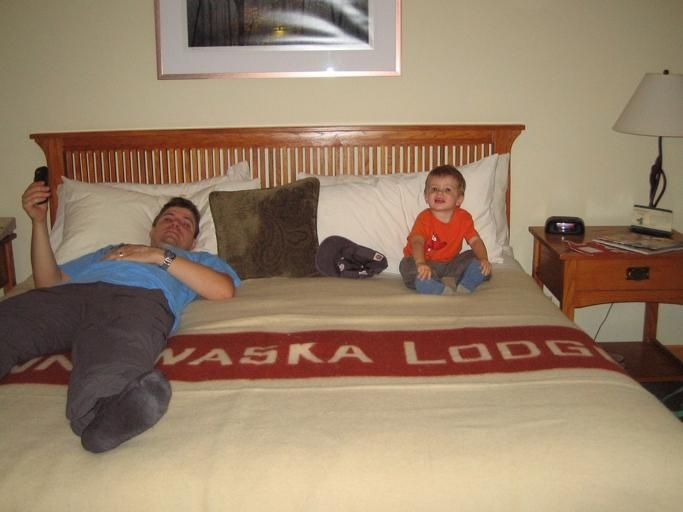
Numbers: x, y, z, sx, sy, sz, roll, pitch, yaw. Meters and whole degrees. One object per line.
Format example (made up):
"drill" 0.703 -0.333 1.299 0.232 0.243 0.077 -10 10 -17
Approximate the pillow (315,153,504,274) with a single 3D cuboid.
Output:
"pillow" 0.319 -0.237 2.533 0.797 0.533 0.319 -1 3 8

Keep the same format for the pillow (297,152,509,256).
"pillow" 0.338 -0.213 2.510 0.828 0.552 0.330 -4 3 0

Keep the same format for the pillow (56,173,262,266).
"pillow" -0.934 -0.172 2.644 0.755 0.480 0.295 0 -1 -9

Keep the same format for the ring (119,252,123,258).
"ring" -0.862 -0.006 2.062 0.014 0.015 0.004 -2 -19 8

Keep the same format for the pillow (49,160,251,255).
"pillow" -0.907 -0.222 2.475 0.732 0.482 0.299 -3 -8 -16

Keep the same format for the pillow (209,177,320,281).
"pillow" -0.343 -0.104 2.318 0.459 0.438 0.140 -8 -2 3
